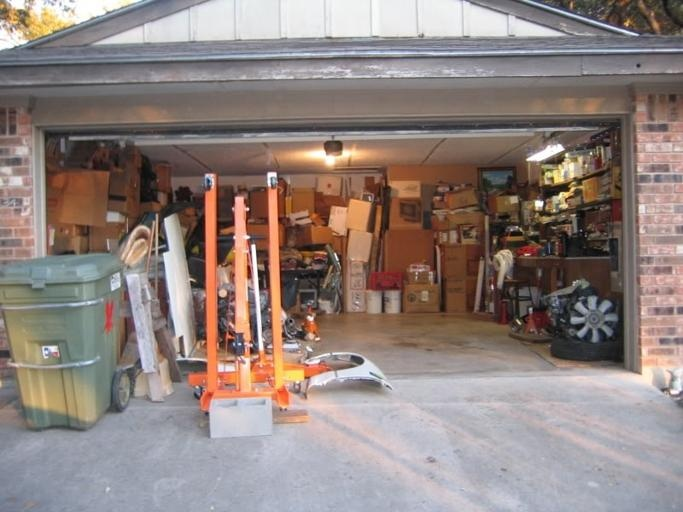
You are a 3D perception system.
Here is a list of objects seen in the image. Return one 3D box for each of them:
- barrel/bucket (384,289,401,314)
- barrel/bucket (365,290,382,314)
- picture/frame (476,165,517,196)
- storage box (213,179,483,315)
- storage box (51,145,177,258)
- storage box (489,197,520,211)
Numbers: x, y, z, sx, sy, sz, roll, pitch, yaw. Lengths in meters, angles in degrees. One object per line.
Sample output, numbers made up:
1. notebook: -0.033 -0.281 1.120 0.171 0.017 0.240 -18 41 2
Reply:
1. barrel/bucket: 0.942 0.817 11.399 0.319 0.421 0.270 -2 -2 4
2. barrel/bucket: 0.601 0.827 11.472 0.414 0.389 0.385 1 -2 0
3. picture/frame: 3.017 -1.485 12.118 0.794 0.556 0.059 1 -4 2
4. storage box: -0.177 0.445 11.652 4.592 2.709 2.289 0 1 -7
5. storage box: -3.084 -0.731 8.305 0.976 1.159 1.696 -1 12 1
6. storage box: 2.962 -0.927 11.343 0.352 0.223 0.321 -1 0 -7
